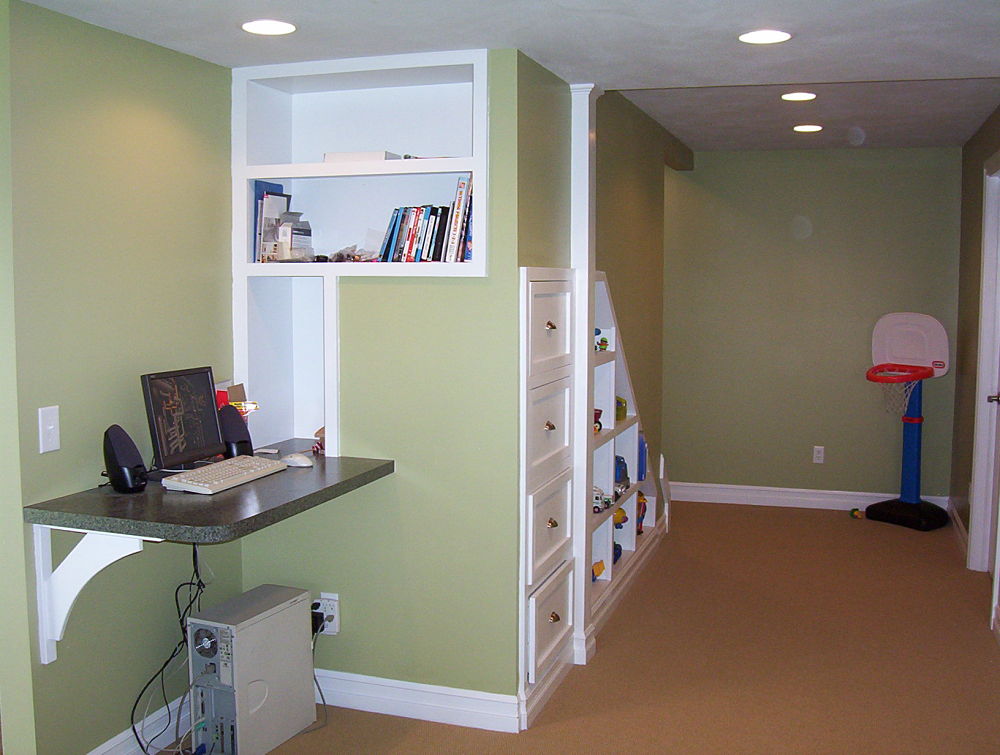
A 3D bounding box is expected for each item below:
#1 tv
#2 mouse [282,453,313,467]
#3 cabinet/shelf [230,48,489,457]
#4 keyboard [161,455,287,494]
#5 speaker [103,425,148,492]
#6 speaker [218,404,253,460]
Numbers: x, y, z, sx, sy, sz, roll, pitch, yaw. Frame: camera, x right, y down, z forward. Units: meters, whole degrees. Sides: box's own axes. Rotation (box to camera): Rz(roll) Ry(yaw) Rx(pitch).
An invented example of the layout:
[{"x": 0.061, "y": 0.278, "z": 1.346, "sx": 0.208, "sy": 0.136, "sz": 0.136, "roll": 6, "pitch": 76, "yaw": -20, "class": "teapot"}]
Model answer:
[{"x": -1.236, "y": 0.171, "z": 3.045, "sx": 0.094, "sy": 0.432, "sz": 0.369, "roll": -14, "pitch": -3, "yaw": 24, "class": "tv"}, {"x": -0.819, "y": 0.324, "z": 3.187, "sx": 0.081, "sy": 0.027, "sz": 0.061, "roll": 5, "pitch": 4, "yaw": 24, "class": "mouse"}, {"x": -0.622, "y": -0.517, "z": 3.450, "sx": 1.074, "sy": 1.665, "sz": 0.463, "roll": 2, "pitch": 9, "yaw": 6, "class": "cabinet/shelf"}, {"x": -1.007, "y": 0.361, "z": 2.965, "sx": 0.229, "sy": 0.052, "sz": 0.459, "roll": 6, "pitch": 10, "yaw": 29, "class": "keyboard"}, {"x": -1.343, "y": 0.287, "z": 2.829, "sx": 0.140, "sy": 0.234, "sz": 0.142, "roll": -3, "pitch": 10, "yaw": -25, "class": "speaker"}, {"x": -1.078, "y": 0.222, "z": 3.215, "sx": 0.057, "sy": 0.198, "sz": 0.138, "roll": -14, "pitch": -2, "yaw": 35, "class": "speaker"}]
